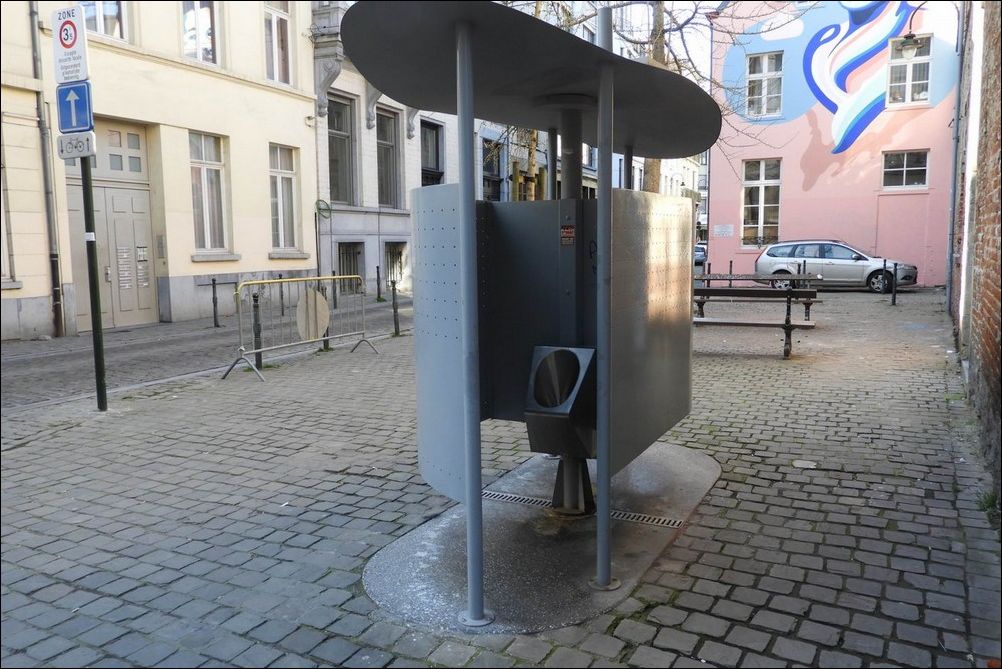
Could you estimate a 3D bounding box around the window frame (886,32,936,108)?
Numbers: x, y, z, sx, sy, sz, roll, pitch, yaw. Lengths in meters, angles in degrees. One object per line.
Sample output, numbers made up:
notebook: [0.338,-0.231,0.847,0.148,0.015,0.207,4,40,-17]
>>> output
window frame: [13.555,-8.838,25.086,1.333,2.349,0.237,5,43,30]

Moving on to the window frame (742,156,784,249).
window frame: [9.405,-4.773,27.410,1.383,3.176,0.189,2,24,19]

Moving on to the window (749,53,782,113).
window: [9.478,-9.067,27.217,1.252,2.335,0.127,1,41,19]

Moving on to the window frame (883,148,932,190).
window frame: [13.683,-5.636,25.402,1.324,1.322,0.138,5,7,23]

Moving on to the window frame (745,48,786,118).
window frame: [9.473,-9.070,27.206,1.301,2.446,0.235,1,-9,17]

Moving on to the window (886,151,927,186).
window: [13.673,-5.664,25.446,1.161,1.139,0.153,1,1,21]

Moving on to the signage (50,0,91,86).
signage: [-4.956,-3.356,8.678,0.486,0.854,0.214,2,14,12]
